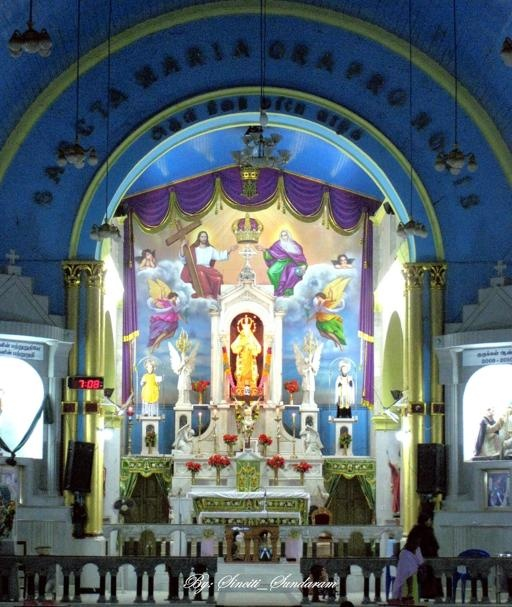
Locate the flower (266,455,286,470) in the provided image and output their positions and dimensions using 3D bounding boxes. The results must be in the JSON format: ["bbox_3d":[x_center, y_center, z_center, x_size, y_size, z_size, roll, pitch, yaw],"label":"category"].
[{"bbox_3d":[0.400,3.188,27.921,0.319,0.319,0.325,2,-3,-21],"label":"flower"}]

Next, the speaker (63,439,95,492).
[{"bbox_3d":[-2.887,2.692,22.917,0.439,0.803,0.176,3,-13,-10],"label":"speaker"}]

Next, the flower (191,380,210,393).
[{"bbox_3d":[-1.193,1.772,29.927,0.289,0.242,0.279,2,-40,-3],"label":"flower"}]

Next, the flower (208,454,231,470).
[{"bbox_3d":[-0.724,3.148,27.770,0.355,0.340,0.347,1,1,-16],"label":"flower"}]

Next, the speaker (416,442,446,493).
[{"bbox_3d":[2.850,2.737,22.965,0.450,0.850,0.299,1,-13,-5],"label":"speaker"}]

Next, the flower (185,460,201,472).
[{"bbox_3d":[-1.244,3.263,27.802,0.242,0.235,0.239,1,-10,2],"label":"flower"}]

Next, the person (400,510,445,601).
[{"bbox_3d":[2.197,3.298,18.229,0.376,1.152,1.164,-2,-13,9],"label":"person"}]

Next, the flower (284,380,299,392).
[{"bbox_3d":[0.768,1.774,29.908,0.263,0.250,0.139,-1,-12,10],"label":"flower"}]

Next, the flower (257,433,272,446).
[{"bbox_3d":[0.161,2.793,28.581,0.238,0.227,0.229,10,-10,-25],"label":"flower"}]

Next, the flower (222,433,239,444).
[{"bbox_3d":[-0.518,2.752,28.390,0.229,0.218,0.223,-1,-4,-8],"label":"flower"}]

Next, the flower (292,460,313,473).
[{"bbox_3d":[0.941,3.288,28.029,0.274,0.225,0.266,5,-11,-15],"label":"flower"}]
